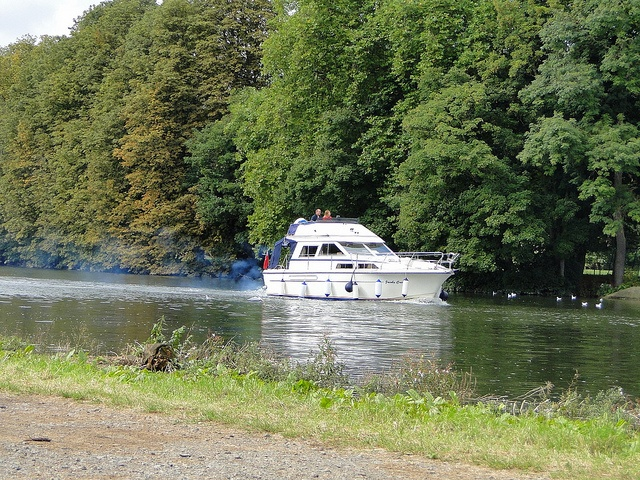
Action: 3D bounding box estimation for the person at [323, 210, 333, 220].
[{"bbox_3d":[0.519,-1.399,79.067,0.457,0.944,0.396,-14,24,-19],"label":"person"}]
